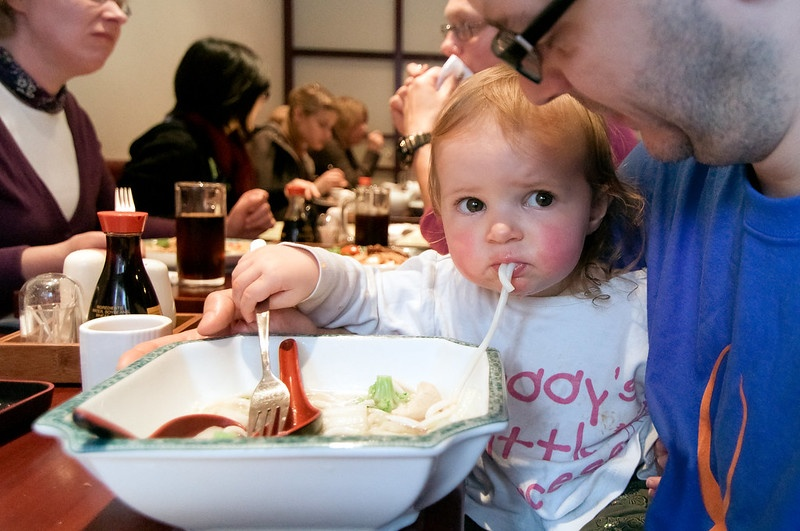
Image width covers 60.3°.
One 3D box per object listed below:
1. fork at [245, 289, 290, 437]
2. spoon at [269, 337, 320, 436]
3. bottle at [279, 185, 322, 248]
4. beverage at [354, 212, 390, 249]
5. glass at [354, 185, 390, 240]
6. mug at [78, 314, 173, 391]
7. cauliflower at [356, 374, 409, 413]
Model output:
[{"bbox_3d":[-0.234,0.170,1.182,0.047,0.032,0.224,-9,43,-4],"label":"fork"},{"bbox_3d":[-0.182,0.213,1.183,0.073,0.033,0.190,-14,50,0],"label":"spoon"},{"bbox_3d":[-0.415,-0.178,2.735,0.105,0.273,0.103,5,24,-2],"label":"bottle"},{"bbox_3d":[-0.111,-0.139,2.697,0.127,0.143,0.127,-1,6,1],"label":"beverage"},{"bbox_3d":[-0.114,-0.191,2.756,0.140,0.243,0.150,8,12,32],"label":"glass"},{"bbox_3d":[-0.520,0.159,1.326,0.125,0.141,0.162,-1,4,0],"label":"mug"},{"bbox_3d":[-0.029,0.216,1.186,0.065,0.032,0.064,2,-2,3],"label":"cauliflower"}]
